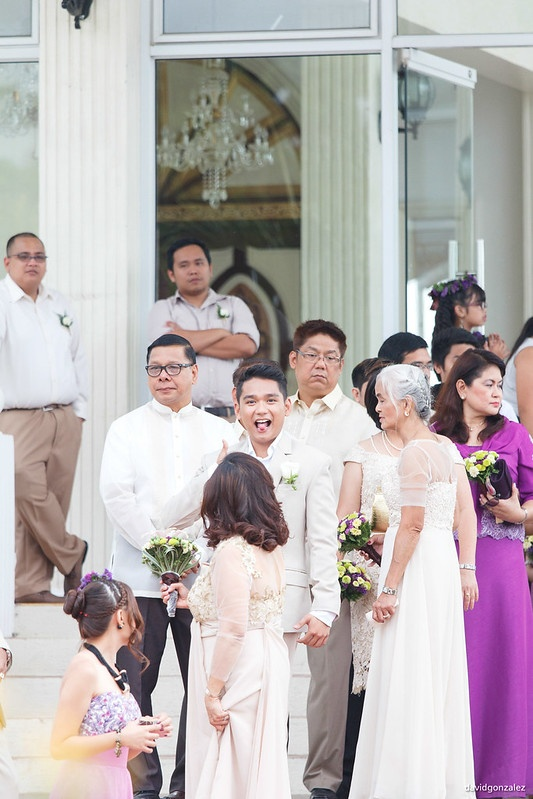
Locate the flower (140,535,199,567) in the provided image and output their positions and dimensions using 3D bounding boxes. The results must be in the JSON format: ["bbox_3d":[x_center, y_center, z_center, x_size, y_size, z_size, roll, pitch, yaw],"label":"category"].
[{"bbox_3d":[-0.359,0.565,5.706,0.132,0.094,0.134,2,-4,-20],"label":"flower"}]

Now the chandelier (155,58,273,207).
[{"bbox_3d":[-0.299,-1.546,9.062,0.745,0.979,0.765,2,6,17],"label":"chandelier"}]

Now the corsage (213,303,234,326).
[{"bbox_3d":[-0.228,-0.461,8.368,0.081,0.112,0.026,-1,-20,-8],"label":"corsage"}]

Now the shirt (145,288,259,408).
[{"bbox_3d":[-0.342,-0.273,8.334,0.525,0.671,0.342,-7,-2,-18],"label":"shirt"}]

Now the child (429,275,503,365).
[{"bbox_3d":[1.087,-0.352,8.320,0.396,0.671,0.332,1,5,23],"label":"child"}]

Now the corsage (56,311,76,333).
[{"bbox_3d":[-0.986,-0.379,7.590,0.033,0.083,0.086,-20,-14,39],"label":"corsage"}]

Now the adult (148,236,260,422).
[{"bbox_3d":[-0.316,-0.195,8.376,0.536,1.361,0.397,-9,4,-11],"label":"adult"}]

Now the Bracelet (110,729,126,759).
[{"bbox_3d":[-0.474,1.127,4.974,0.031,0.071,0.057,-1,2,10],"label":"Bracelet"}]

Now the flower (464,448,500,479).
[{"bbox_3d":[0.846,0.256,6.070,0.110,0.111,0.097,-33,-47,9],"label":"flower"}]
